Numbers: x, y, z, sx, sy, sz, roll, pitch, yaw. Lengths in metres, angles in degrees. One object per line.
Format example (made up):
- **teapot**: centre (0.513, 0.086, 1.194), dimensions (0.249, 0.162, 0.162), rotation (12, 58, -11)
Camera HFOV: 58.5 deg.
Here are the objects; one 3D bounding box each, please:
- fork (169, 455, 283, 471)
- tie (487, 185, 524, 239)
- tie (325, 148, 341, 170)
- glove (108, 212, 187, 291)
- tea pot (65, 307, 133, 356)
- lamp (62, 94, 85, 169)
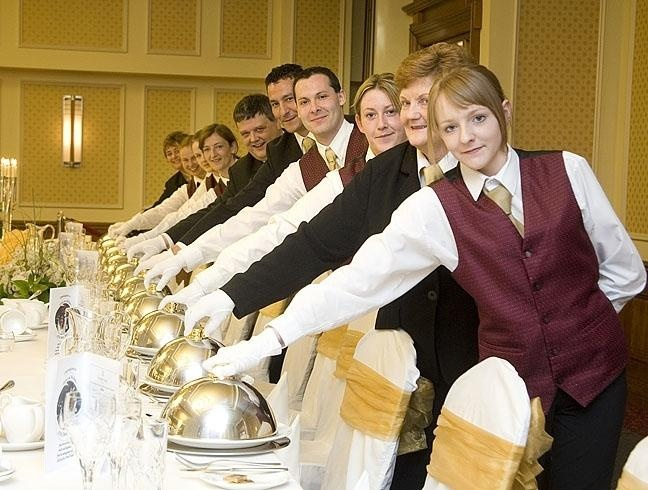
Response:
- **fork**: centre (-0.235, 0.536, 1.422), dimensions (0.283, 0.027, 0.077), rotation (-1, -2, 2)
- **tie**: centre (0.552, -0.113, 1.779), dimensions (0.063, 0.206, 0.020), rotation (-30, -13, -3)
- **tie**: centre (0.053, -0.444, 2.972), dimensions (0.042, 0.158, 0.047), rotation (-12, -42, 8)
- **glove**: centre (-1.098, -0.006, 3.763), dimensions (0.577, 0.204, 0.330), rotation (-21, 26, -11)
- **tea pot**: centre (-0.646, 0.247, 1.709), dimensions (0.187, 0.223, 0.131), rotation (5, 1, -16)
- **lamp**: centre (-4.127, -1.867, 9.481), dimensions (0.342, 1.149, 0.155), rotation (0, 0, -14)
